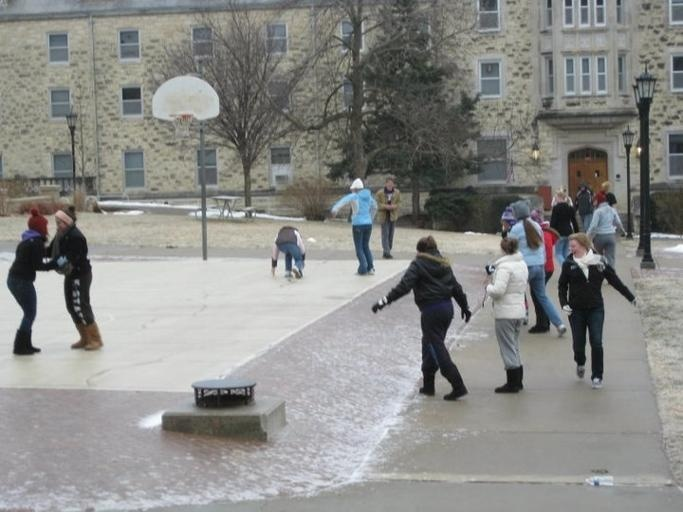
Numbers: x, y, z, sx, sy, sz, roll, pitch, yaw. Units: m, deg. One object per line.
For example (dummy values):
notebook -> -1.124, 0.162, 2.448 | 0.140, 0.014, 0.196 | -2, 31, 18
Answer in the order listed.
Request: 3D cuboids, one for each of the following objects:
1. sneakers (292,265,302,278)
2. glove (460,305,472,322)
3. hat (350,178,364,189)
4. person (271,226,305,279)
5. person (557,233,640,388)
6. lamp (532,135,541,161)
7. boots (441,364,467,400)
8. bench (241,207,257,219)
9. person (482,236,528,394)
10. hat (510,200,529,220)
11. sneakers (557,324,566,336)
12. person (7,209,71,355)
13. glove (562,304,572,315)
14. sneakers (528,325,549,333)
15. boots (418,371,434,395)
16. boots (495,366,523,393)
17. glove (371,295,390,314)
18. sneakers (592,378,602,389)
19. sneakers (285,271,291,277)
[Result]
sneakers -> -1.139, 0.431, 34.709 | 0.155, 0.381, 0.170 | 4, 40, 36
glove -> 2.613, 1.250, 27.605 | 0.225, 0.332, 0.099 | 6, 13, 39
hat -> 0.414, -1.869, 35.270 | 0.275, 0.326, 0.399 | -13, 12, -41
person -> -1.411, -0.006, 35.229 | 0.815, 1.430, 1.113 | 6, -32, -9
person -> 5.166, 1.168, 27.798 | 1.237, 3.175, 0.619 | -1, 5, 10
lamp -> 8.012, -4.379, 54.997 | 0.353, 0.968, 0.397 | 1, 6, 29
boots -> 2.339, 2.639, 27.526 | 0.531, 0.735, 0.242 | -2, 5, 2
bench -> -3.597, -1.678, 52.219 | 0.486, 0.421, 3.297 | -2, 6, -3
person -> 3.473, 1.262, 27.756 | 0.743, 3.220, 0.592 | -1, 5, 8
hat -> 4.045, -1.025, 30.123 | 0.302, 0.411, 0.416 | -1, 14, -8
sneakers -> 4.953, 1.714, 29.992 | 0.130, 0.160, 0.359 | -35, -28, -13
person -> -6.788, 0.571, 29.313 | 1.051, 3.168, 0.872 | -3, 6, -16
glove -> 4.724, 1.150, 27.897 | 0.228, 0.245, 0.067 | -22, 20, 11
sneakers -> 4.485, 1.723, 30.320 | 0.312, 0.136, 0.197 | -7, 4, 6
boots -> 1.801, 2.701, 27.643 | 0.234, 0.505, 0.500 | -1, 9, -4
boots -> 3.632, 2.649, 27.803 | 0.778, 0.656, 0.301 | 2, 5, 15
glove -> 0.786, 1.025, 27.428 | 0.401, 0.245, 0.166 | -39, -21, -2
sneakers -> 5.305, 2.685, 27.763 | 0.157, 0.202, 0.199 | 3, -6, -13
sneakers -> -1.394, 0.514, 34.937 | 0.132, 0.141, 0.139 | 0, 4, 25
